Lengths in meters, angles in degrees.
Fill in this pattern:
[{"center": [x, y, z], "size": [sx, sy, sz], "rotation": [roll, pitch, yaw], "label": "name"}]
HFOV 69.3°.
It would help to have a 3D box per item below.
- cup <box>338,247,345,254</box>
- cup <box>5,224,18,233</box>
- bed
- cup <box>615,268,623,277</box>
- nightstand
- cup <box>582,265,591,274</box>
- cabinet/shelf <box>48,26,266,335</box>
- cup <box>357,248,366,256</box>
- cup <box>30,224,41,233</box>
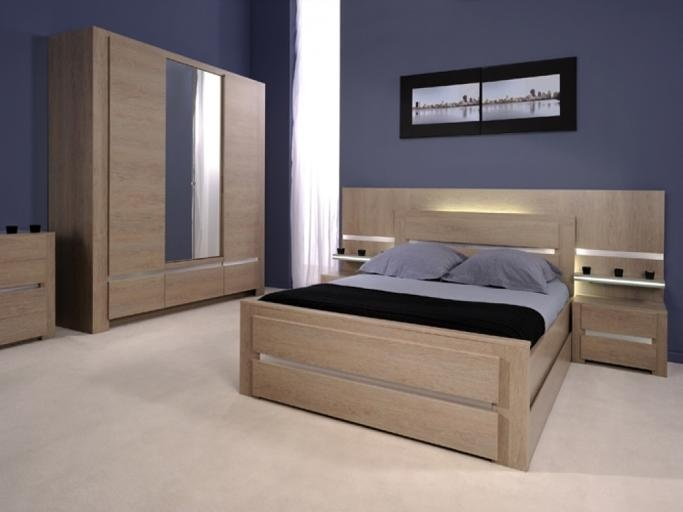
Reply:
[{"center": [-0.002, -0.053, 5.126], "size": [0.065, 0.050, 0.061], "rotation": [0, -1, 0], "label": "cup"}, {"center": [-2.740, -0.220, 4.128], "size": [0.095, 0.061, 0.096], "rotation": [0, 1, 0], "label": "cup"}, {"center": [0.796, 0.652, 3.600], "size": [1.787, 1.193, 1.907], "rotation": [1, 2, 28], "label": "bed"}, {"center": [2.224, 0.133, 3.983], "size": [0.060, 0.070, 0.063], "rotation": [0, 3, 0], "label": "cup"}, {"center": [2.221, 0.568, 4.007], "size": [0.905, 0.694, 0.484], "rotation": [1, 0, 27], "label": "nightstand"}, {"center": [2.008, 0.111, 4.084], "size": [0.077, 0.077, 0.054], "rotation": [-1, -1, 20], "label": "cup"}, {"center": [-1.824, -0.786, 5.179], "size": [0.836, 2.700, 2.423], "rotation": [10, 16, 34], "label": "cabinet/shelf"}, {"center": [0.201, -0.039, 5.090], "size": [0.065, 0.047, 0.063], "rotation": [1, 0, 0], "label": "cup"}, {"center": [-2.618, -0.228, 4.234], "size": [0.085, 0.082, 0.082], "rotation": [-1, 2, 0], "label": "cup"}]
